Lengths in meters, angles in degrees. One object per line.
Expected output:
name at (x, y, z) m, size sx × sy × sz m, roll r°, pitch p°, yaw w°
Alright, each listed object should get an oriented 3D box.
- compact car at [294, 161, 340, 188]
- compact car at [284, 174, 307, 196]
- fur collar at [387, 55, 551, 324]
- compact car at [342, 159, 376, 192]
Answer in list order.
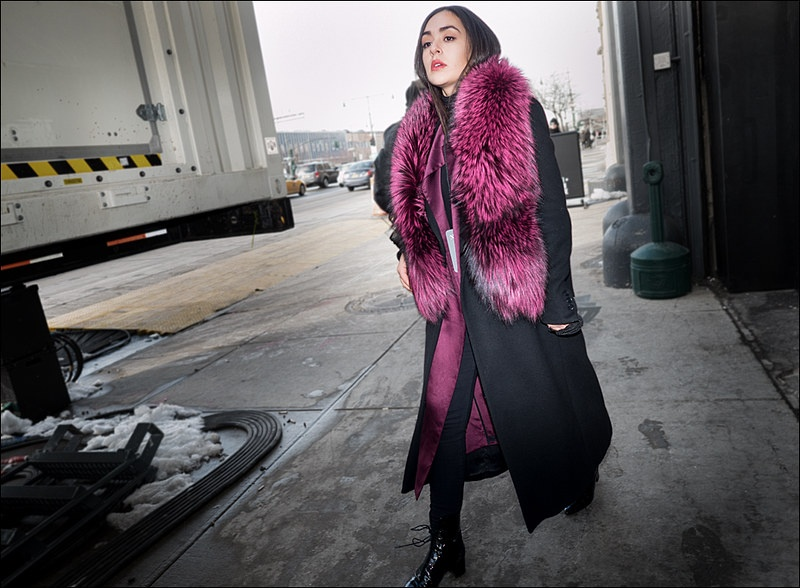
compact car at (-7.118, -10.517, 40.403) m, size 2.350 × 1.598 × 4.278 m, roll 7°, pitch 21°, yaw 25°
compact car at (-7.738, -7.848, 33.877) m, size 1.006 × 1.288 × 2.244 m, roll -13°, pitch 16°, yaw 0°
fur collar at (0.345, -0.385, 1.864) m, size 0.656 × 0.975 × 0.314 m, roll -4°, pitch 12°, yaw 31°
compact car at (-2.864, -8.345, 32.431) m, size 2.336 × 1.800 × 1.559 m, roll 3°, pitch 23°, yaw 44°
